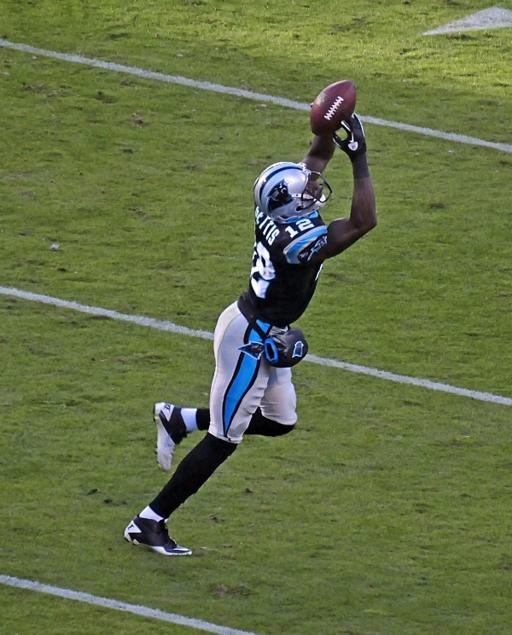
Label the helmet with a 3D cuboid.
[{"bbox_3d":[0.177,-0.643,7.888,0.400,0.238,0.260,-11,15,2],"label":"helmet"}]

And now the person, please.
[{"bbox_3d":[0.043,0.067,8.021,0.874,2.364,1.450,18,25,19],"label":"person"}]

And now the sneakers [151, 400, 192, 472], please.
[{"bbox_3d":[-0.482,0.663,8.307,0.258,0.404,0.149,4,6,-4],"label":"sneakers"}]

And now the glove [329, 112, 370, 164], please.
[{"bbox_3d":[0.499,-0.940,7.835,0.168,0.256,0.245,8,22,-3],"label":"glove"}]
